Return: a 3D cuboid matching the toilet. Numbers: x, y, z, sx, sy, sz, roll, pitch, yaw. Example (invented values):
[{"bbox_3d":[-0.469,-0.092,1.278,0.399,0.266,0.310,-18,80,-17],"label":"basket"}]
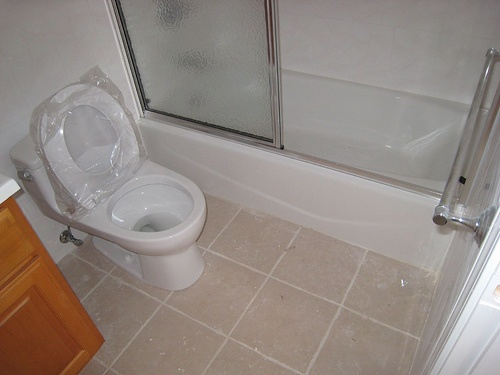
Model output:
[{"bbox_3d":[-0.696,-0.028,1.699,0.675,0.800,0.533,28,56,7],"label":"toilet"}]
